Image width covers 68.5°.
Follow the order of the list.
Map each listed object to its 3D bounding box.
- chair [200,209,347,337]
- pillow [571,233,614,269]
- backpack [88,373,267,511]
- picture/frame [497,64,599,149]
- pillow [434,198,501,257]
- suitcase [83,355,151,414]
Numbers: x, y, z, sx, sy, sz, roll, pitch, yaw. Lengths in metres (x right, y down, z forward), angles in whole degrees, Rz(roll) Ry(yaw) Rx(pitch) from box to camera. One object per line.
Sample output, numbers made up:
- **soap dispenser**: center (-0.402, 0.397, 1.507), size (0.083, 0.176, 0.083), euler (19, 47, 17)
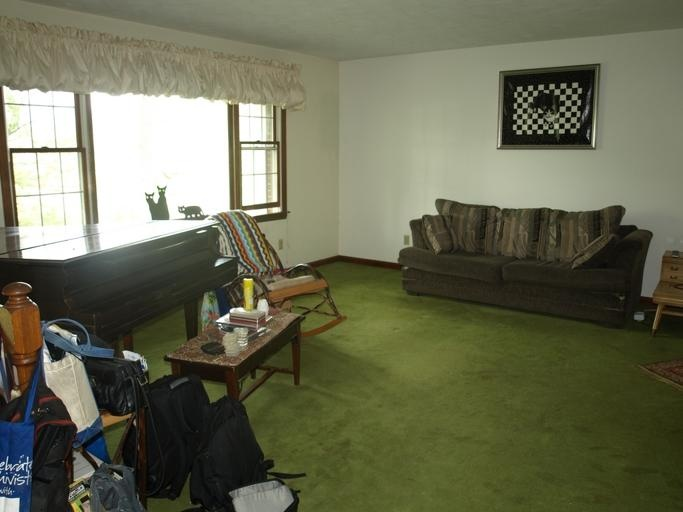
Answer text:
- **chair**: center (-0.702, 0.145, 5.299), size (1.630, 1.502, 0.921), euler (6, 9, 36)
- **pillow**: center (2.608, -0.045, 5.166), size (0.383, 0.356, 0.124), euler (4, 12, 27)
- **backpack**: center (-0.917, 1.048, 2.920), size (0.844, 0.407, 0.653), euler (26, 31, 21)
- **picture/frame**: center (2.585, -1.855, 6.126), size (1.059, 0.939, 0.040), euler (4, 10, 30)
- **pillow**: center (1.586, -0.330, 6.275), size (0.663, 0.666, 0.200), euler (0, -10, 23)
- **suitcase**: center (-1.089, 0.625, 2.523), size (0.331, 0.255, 0.250), euler (7, -7, 39)
